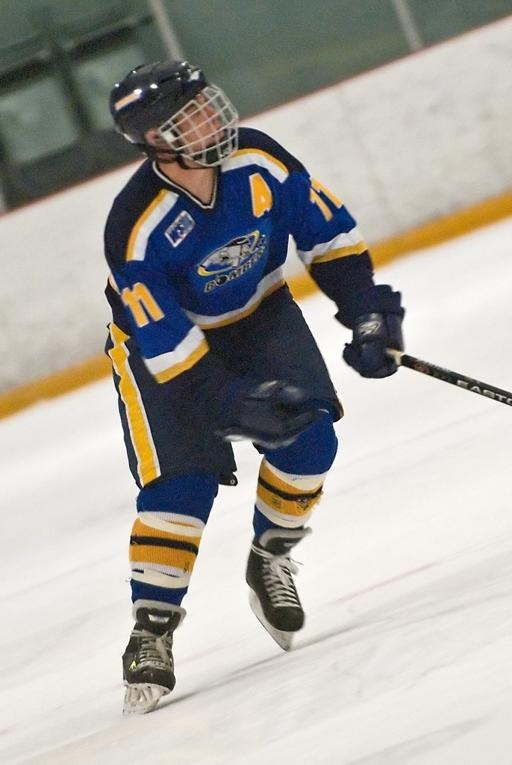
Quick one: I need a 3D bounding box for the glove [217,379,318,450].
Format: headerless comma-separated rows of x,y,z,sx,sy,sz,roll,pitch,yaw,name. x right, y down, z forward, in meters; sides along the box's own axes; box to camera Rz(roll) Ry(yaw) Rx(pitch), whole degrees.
0.024,0.061,1.485,0.141,0.122,0.147,26,55,17,glove

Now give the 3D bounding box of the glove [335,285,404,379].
0.222,-0.091,1.576,0.122,0.072,0.171,-8,63,30,glove

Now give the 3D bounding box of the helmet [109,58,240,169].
-0.143,-0.487,1.509,0.250,0.169,0.163,-2,33,16,helmet
